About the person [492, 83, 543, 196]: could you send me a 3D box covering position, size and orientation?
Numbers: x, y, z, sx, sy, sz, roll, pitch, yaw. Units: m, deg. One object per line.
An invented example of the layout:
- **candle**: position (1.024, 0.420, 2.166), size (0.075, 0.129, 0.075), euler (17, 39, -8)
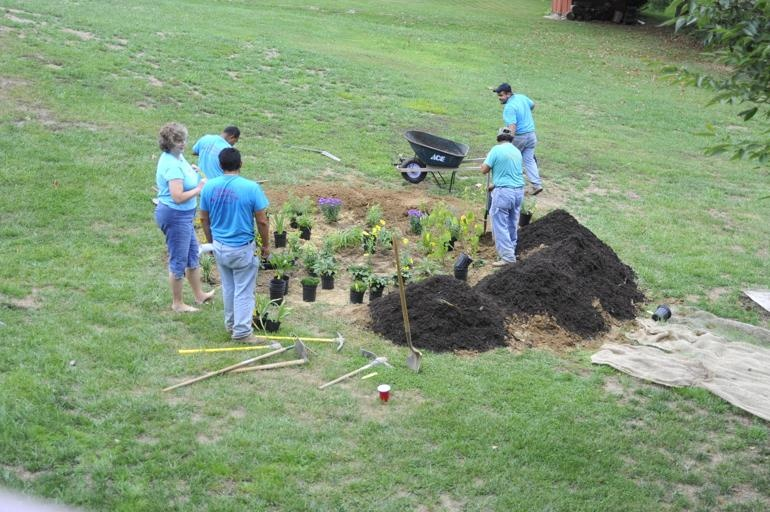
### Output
- **person**: position (3.133, -2.805, 19.382), size (1.182, 2.587, 0.990), euler (-17, 15, -36)

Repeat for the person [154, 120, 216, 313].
- **person**: position (-3.645, -0.698, 14.704), size (1.056, 3.411, 1.149), euler (6, 17, 8)

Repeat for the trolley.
- **trolley**: position (1.297, -2.581, 20.357), size (1.764, 1.348, 1.745), euler (9, 22, 15)

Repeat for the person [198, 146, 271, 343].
- **person**: position (-2.562, -0.123, 14.055), size (1.177, 3.297, 1.269), euler (3, -2, -23)

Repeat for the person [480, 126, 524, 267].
- **person**: position (2.504, -1.243, 17.234), size (1.044, 2.826, 1.015), euler (1, 6, 33)

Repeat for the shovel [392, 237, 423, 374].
- **shovel**: position (0.389, 0.827, 14.012), size (0.522, 2.265, 0.401), euler (3, -1, -3)

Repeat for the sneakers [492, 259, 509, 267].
- **sneakers**: position (2.365, 0.136, 16.754), size (0.333, 0.134, 0.120), euler (1, 8, -4)
